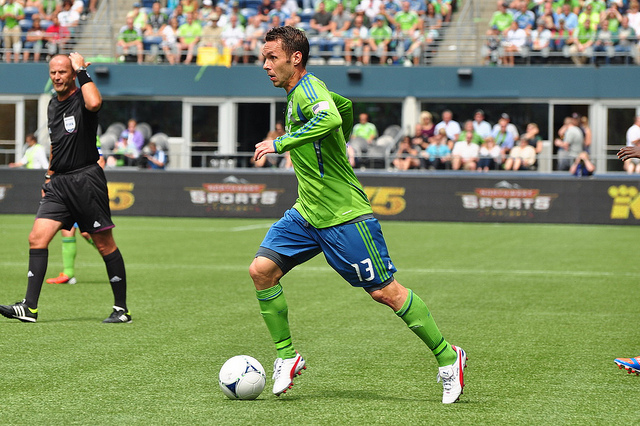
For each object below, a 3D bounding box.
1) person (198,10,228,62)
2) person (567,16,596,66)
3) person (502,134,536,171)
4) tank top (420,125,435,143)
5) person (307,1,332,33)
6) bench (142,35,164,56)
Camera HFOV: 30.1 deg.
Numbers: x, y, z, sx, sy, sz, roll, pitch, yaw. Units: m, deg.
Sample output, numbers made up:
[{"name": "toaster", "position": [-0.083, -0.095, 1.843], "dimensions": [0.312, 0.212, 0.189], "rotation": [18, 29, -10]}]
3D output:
[{"name": "person", "position": [-3.100, -5.091, 34.205], "dimensions": [0.907, 1.213, 0.781], "rotation": [-2, 4, -13]}, {"name": "person", "position": [7.027, -4.598, 32.023], "dimensions": [0.672, 1.350, 1.114], "rotation": [0, 12, 3]}, {"name": "person", "position": [5.014, -1.505, 29.648], "dimensions": [0.653, 0.758, 1.031], "rotation": [5, 13, 26]}, {"name": "tank top", "position": [2.771, -2.056, 30.877], "dimensions": [0.362, 0.395, 0.466], "rotation": [2, 12, 14]}, {"name": "person", "position": [0.034, -5.557, 33.893], "dimensions": [0.839, 1.090, 0.803], "rotation": [0, -6, 2]}, {"name": "bench", "position": [-4.847, -4.922, 34.889], "dimensions": [0.606, 0.550, 0.565], "rotation": [1, -8, -4]}]
